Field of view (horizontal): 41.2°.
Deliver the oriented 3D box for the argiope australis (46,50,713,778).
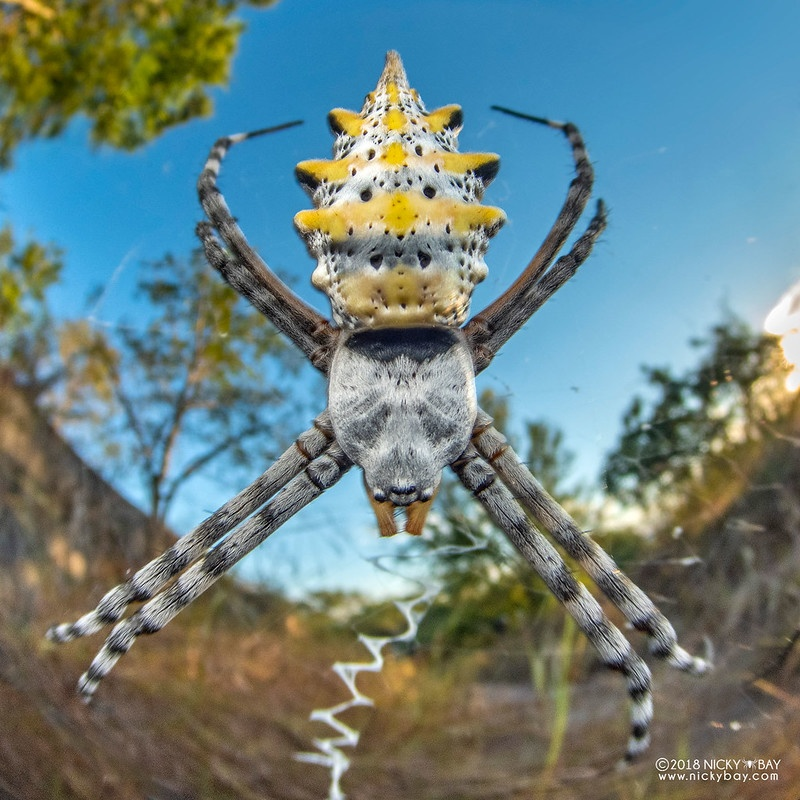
[{"bbox_3d":[-0.241,0.316,4.682,3.073,0.748,3.073,2,-82,2],"label":"argiope australis"}]
